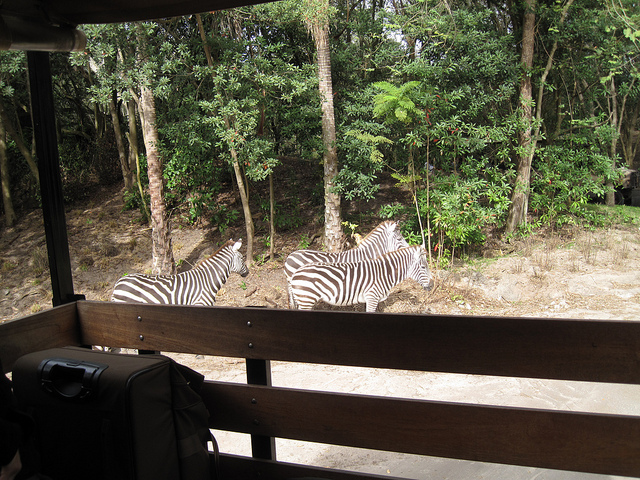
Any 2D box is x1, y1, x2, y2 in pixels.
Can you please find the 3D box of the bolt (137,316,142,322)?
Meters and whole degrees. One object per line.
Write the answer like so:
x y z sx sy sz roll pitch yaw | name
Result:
-1.227 0.531 3.715 0.038 0.038 0.006 -1 3 30 | bolt

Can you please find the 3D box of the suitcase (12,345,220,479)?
-1.206 1.020 3.162 0.675 0.713 0.407 1 6 23 | suitcase

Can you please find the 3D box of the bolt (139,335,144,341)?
-1.220 0.658 3.721 0.032 0.040 0.002 -1 3 29 | bolt

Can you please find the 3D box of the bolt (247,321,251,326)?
-0.448 0.521 3.452 0.021 0.039 0.021 11 30 19 | bolt

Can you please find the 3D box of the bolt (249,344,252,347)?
-0.441 0.661 3.464 0.019 0.021 0.011 -1 10 29 | bolt

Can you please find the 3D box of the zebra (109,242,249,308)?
-2.823 0.677 11.426 2.893 2.170 0.896 -2 18 -17 | zebra

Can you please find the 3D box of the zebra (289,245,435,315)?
0.785 0.942 10.257 2.670 1.915 0.804 1 1 -4 | zebra
